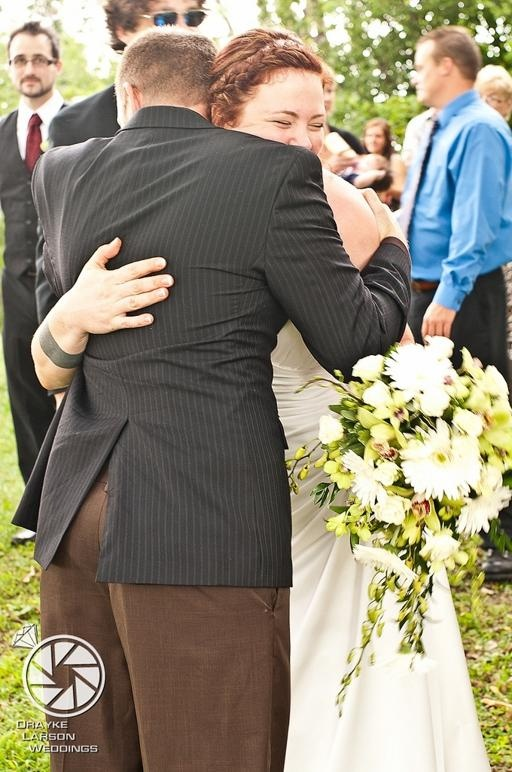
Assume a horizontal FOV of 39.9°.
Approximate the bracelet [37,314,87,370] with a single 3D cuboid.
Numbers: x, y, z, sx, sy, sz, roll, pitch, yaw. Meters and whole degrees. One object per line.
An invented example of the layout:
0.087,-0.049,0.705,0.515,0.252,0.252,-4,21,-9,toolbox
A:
-0.400,-0.082,1.475,0.067,0.102,0.102,-41,-3,-14,bracelet
